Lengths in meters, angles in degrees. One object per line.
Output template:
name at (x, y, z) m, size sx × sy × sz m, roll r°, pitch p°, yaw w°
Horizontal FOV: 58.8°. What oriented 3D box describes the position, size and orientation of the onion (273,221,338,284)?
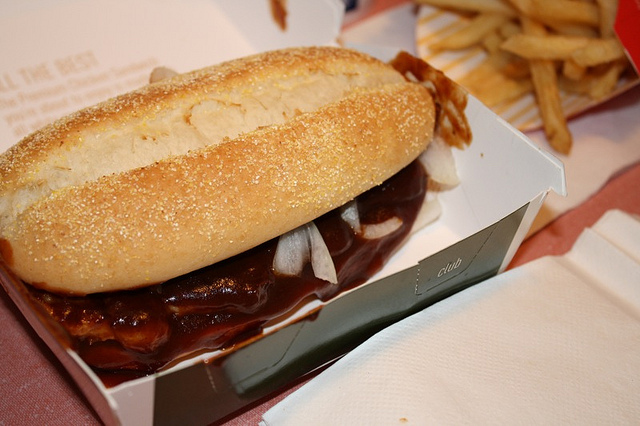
onion at (-0.056, 0.115, 1.639) m, size 0.176 × 0.049 × 0.229 m, roll -6°, pitch 50°, yaw -11°
